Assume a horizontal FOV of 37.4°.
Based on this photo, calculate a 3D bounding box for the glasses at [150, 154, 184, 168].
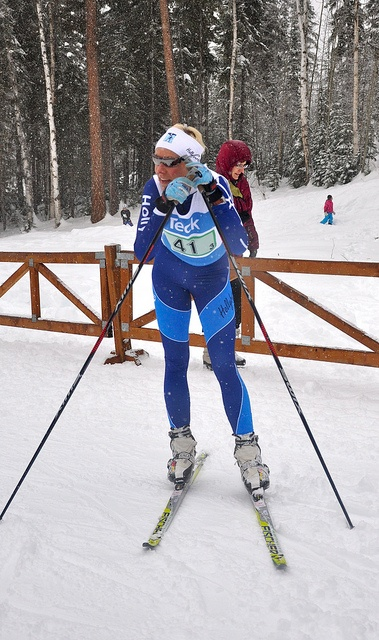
[{"bbox_3d":[-0.118,-0.730,2.574,0.175,0.060,0.082,11,16,42],"label":"glasses"}]

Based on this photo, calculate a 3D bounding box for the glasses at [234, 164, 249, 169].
[{"bbox_3d":[0.408,-1.226,4.467,0.049,0.030,0.067,-2,2,-30],"label":"glasses"}]

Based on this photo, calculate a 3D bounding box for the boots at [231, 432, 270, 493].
[{"bbox_3d":[0.302,0.713,2.783,0.122,0.285,0.386,-7,1,-7],"label":"boots"}]

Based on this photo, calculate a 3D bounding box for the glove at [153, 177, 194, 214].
[{"bbox_3d":[-0.072,-0.543,2.447,0.126,0.048,0.137,-39,44,17],"label":"glove"}]
